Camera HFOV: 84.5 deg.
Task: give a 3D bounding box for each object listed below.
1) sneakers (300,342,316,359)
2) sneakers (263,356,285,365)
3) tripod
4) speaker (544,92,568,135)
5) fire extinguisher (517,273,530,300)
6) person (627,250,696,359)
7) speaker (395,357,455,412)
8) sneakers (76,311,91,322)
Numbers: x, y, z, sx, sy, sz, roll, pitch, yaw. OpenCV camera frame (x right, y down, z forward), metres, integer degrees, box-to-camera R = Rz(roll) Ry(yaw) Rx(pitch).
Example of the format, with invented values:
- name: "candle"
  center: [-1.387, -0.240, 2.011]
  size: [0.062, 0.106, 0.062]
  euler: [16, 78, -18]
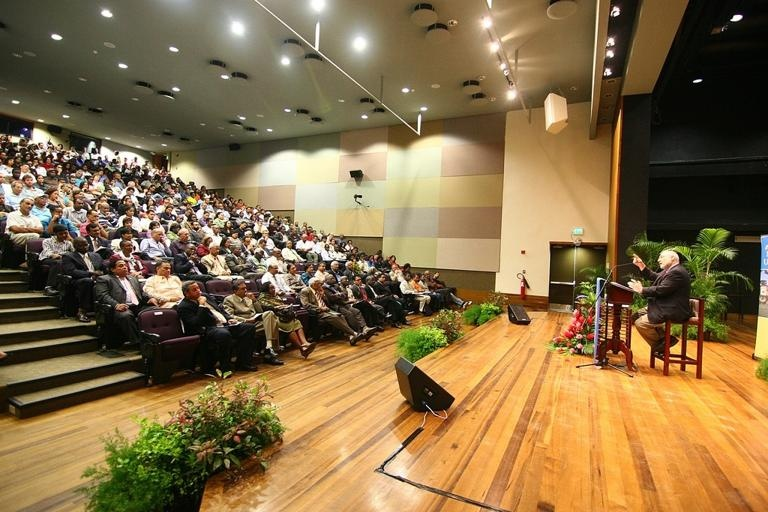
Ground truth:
- name: "sneakers"
  center: [-1.364, 1.681, 7.485]
  size: [0.145, 0.171, 0.426]
  euler: [5, -43, -32]
- name: "sneakers"
  center: [-1.880, 1.778, 7.211]
  size: [0.335, 0.135, 0.133]
  euler: [1, -3, 8]
- name: "tripod"
  center: [3.745, 1.034, 6.988]
  size: [0.701, 1.470, 1.739]
  euler: [-3, 2, 29]
- name: "speaker"
  center: [4.026, -3.407, 9.872]
  size: [0.440, 0.914, 0.648]
  euler: [-4, 2, 19]
- name: "fire extinguisher"
  center: [4.113, 0.871, 12.557]
  size: [0.284, 0.853, 0.330]
  euler: [-6, 2, -40]
- name: "person"
  center: [4.244, 0.728, 6.442]
  size: [0.800, 1.610, 1.016]
  euler: [-3, 2, 34]
- name: "speaker"
  center: [0.536, 1.885, 5.617]
  size: [0.515, 0.636, 0.651]
  euler: [-15, -37, 6]
- name: "sneakers"
  center: [-4.784, 0.965, 6.733]
  size: [0.291, 0.115, 0.106]
  euler: [13, 0, 18]
